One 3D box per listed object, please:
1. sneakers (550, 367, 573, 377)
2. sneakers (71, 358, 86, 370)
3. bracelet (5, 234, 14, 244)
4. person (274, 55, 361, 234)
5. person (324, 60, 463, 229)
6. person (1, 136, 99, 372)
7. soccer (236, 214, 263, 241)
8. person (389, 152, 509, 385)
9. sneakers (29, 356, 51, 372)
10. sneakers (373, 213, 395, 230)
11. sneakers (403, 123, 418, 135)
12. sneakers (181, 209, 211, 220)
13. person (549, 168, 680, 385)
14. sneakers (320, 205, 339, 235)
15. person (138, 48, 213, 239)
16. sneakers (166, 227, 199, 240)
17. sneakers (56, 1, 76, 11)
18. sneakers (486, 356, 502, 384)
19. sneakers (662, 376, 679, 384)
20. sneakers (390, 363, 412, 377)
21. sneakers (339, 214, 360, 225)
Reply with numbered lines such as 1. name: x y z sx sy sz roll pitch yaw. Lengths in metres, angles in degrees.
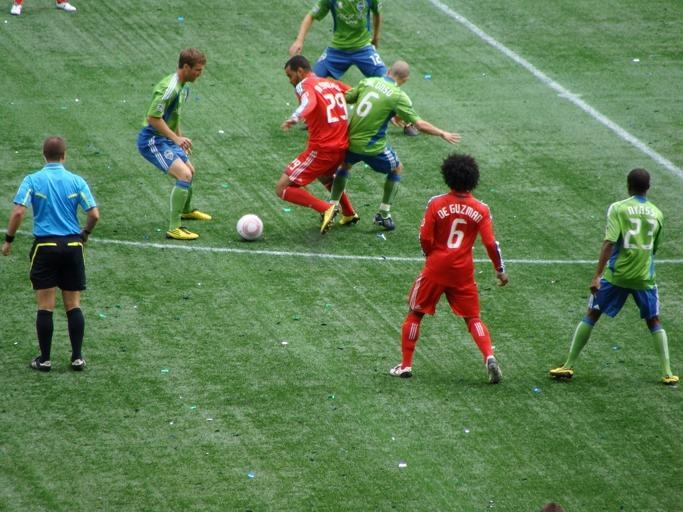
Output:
1. sneakers: 2.448 1.288 17.806 0.220 0.085 0.106 5 10 11
2. sneakers: -2.864 1.177 17.486 0.169 0.145 0.099 -2 7 20
3. bracelet: -3.620 -0.200 17.529 0.103 0.081 0.106 23 -11 -38
4. person: -0.328 -1.369 19.761 0.853 2.044 1.101 4 24 -3
5. person: 0.630 -1.359 20.429 1.628 2.008 1.052 36 45 20
6. person: -3.129 -0.029 17.407 0.952 2.423 0.970 1 24 -9
7. soccer: -1.101 -0.377 19.829 0.347 0.316 0.308 0 24 -11
8. person: 1.235 0.148 17.549 1.103 2.432 0.914 7 24 4
9. sneakers: -3.272 1.171 17.491 0.116 0.087 0.228 -7 17 -44
10. sneakers: 0.529 -0.446 20.190 0.345 0.149 0.131 19 15 -45
11. sneakers: 0.977 -1.763 22.235 0.160 0.102 0.223 -8 31 -4
12. sneakers: -1.825 -0.540 20.195 0.409 0.139 0.135 0 21 -6
13. person: 3.225 0.235 17.645 1.284 2.279 0.895 8 24 7
14. sneakers: -0.138 -0.496 19.688 0.202 0.399 0.154 23 22 -3
15. person: -2.028 -1.390 19.580 0.891 2.274 0.844 2 24 -7
16. sneakers: -1.951 -0.284 19.707 0.339 0.128 0.163 1 12 -4
17. sneakers: -4.222 -3.876 24.677 0.288 0.111 0.131 11 53 -2
18. sneakers: 1.675 1.261 17.564 0.135 0.344 0.184 -21 38 -2
19. sneakers: 3.653 1.364 17.740 0.145 0.058 0.089 2 10 23
20. sneakers: 0.663 1.261 17.782 0.242 0.107 0.119 7 11 33
21. sneakers: 0.109 -0.479 20.325 0.246 0.089 0.117 -13 25 2
